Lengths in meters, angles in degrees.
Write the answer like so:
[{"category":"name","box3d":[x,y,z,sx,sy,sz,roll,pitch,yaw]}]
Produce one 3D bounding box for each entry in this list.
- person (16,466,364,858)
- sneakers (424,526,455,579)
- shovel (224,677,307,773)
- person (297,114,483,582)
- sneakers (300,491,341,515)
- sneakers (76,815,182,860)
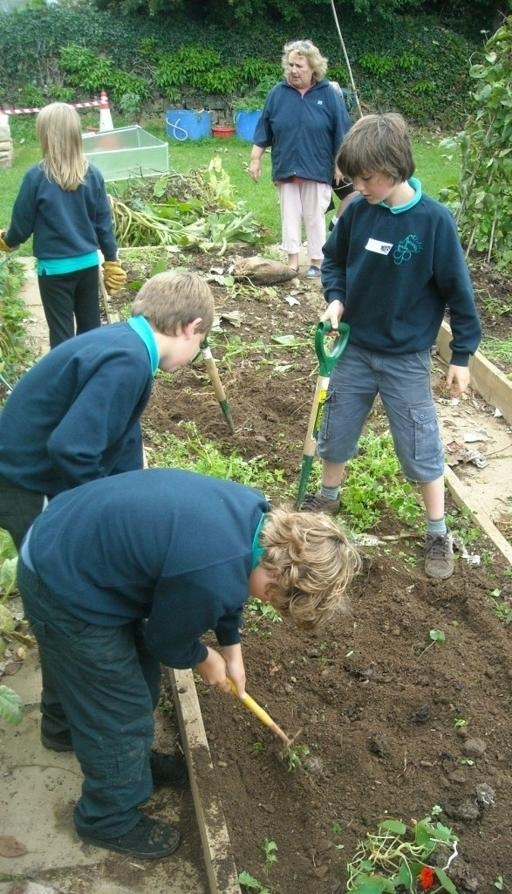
[{"category":"person","box3d":[-0.281,0.687,2.498,0.974,1.287,0.594,21,23,32]},{"category":"sneakers","box3d":[0.823,0.489,3.577,0.092,0.099,0.262,-2,11,9]},{"category":"shovel","box3d":[0.032,0.947,2.799,0.096,0.389,0.217,-45,11,10]},{"category":"person","box3d":[0.562,-0.374,3.397,0.723,1.930,0.575,7,21,22]},{"category":"sneakers","box3d":[0.329,0.277,3.986,0.242,0.095,0.085,5,3,-26]},{"category":"sneakers","box3d":[-0.428,1.319,2.765,0.367,0.158,0.139,8,27,-6]}]
